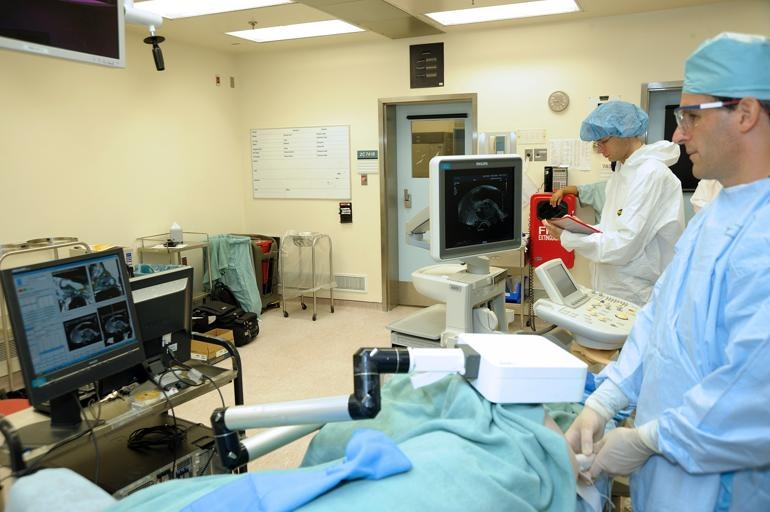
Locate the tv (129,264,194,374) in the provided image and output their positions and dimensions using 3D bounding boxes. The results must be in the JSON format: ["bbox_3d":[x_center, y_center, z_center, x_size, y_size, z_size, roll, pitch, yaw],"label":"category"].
[{"bbox_3d":[-1.074,0.309,2.552,0.142,0.437,0.442,11,15,21],"label":"tv"}]

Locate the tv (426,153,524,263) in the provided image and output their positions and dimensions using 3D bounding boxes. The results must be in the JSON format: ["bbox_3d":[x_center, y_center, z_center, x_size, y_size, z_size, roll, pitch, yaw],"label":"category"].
[{"bbox_3d":[0.504,-0.274,2.982,0.761,0.650,0.105,-5,6,-35],"label":"tv"}]

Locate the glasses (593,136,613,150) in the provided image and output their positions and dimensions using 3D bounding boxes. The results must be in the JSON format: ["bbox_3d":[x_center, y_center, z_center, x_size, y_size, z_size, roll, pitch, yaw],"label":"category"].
[{"bbox_3d":[1.379,-0.707,3.341,0.104,0.050,0.079,-14,10,-37],"label":"glasses"}]

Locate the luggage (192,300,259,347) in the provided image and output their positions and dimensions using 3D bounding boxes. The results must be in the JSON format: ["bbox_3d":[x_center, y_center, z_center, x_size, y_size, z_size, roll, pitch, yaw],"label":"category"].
[{"bbox_3d":[-1.598,0.662,5.330,0.589,0.213,0.358,5,10,18],"label":"luggage"}]

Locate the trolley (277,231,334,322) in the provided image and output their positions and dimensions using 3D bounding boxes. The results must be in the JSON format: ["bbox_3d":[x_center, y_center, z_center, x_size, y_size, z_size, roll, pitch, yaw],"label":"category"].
[{"bbox_3d":[-0.913,0.177,6.316,0.646,0.973,0.767,0,11,11],"label":"trolley"}]

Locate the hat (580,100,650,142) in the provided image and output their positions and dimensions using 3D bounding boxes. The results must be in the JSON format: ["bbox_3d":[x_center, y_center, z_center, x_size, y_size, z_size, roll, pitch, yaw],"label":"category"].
[{"bbox_3d":[1.412,-0.814,3.251,0.323,0.141,0.260,-1,9,11],"label":"hat"}]

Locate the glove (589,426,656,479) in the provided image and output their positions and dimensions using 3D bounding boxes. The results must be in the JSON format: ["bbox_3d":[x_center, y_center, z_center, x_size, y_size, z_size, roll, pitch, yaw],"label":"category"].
[{"bbox_3d":[0.805,0.663,1.800,0.062,0.076,0.209,17,-41,-44],"label":"glove"}]

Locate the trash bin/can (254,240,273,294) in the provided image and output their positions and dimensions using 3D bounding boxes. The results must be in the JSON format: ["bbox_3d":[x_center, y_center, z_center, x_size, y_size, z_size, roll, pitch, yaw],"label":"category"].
[{"bbox_3d":[-1.427,0.138,6.276,0.156,0.650,0.388,-1,11,6],"label":"trash bin/can"}]

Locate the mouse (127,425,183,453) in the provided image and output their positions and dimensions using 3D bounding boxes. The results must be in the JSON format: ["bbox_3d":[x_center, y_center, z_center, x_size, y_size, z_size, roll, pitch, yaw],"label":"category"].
[{"bbox_3d":[-1.144,0.907,2.663,0.167,0.055,0.137,-3,7,-18],"label":"mouse"}]
